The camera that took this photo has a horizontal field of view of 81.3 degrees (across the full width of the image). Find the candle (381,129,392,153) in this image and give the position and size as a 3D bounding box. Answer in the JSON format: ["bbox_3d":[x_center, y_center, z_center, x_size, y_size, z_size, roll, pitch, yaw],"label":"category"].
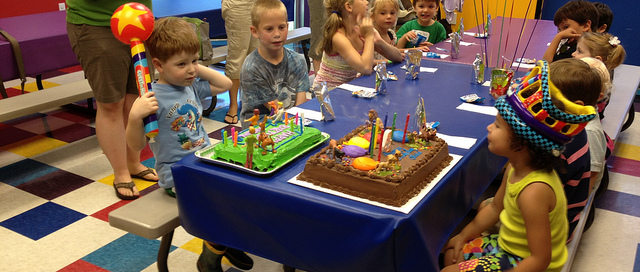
[{"bbox_3d":[0.602,0.049,3.404,0.072,0.167,0.173,9,68,23],"label":"candle"}]

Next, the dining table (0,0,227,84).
[{"bbox_3d":[-2.835,-1.186,4.821,2.742,0.504,1.025,-26,42,-36],"label":"dining table"}]

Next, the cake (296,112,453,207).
[{"bbox_3d":[0.477,0.202,3.323,1.017,0.497,0.977,15,37,32],"label":"cake"}]

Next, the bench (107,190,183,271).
[{"bbox_3d":[-1.777,1.016,3.849,0.476,0.521,0.836,26,33,14],"label":"bench"}]

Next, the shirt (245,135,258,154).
[{"bbox_3d":[-0.602,0.069,3.267,0.074,0.147,0.111,6,33,9],"label":"shirt"}]

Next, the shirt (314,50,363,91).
[{"bbox_3d":[0.251,-0.797,4.556,0.540,0.637,0.357,14,62,31],"label":"shirt"}]

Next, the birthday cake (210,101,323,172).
[{"bbox_3d":[-0.479,0.044,3.383,0.637,0.244,0.818,16,29,26],"label":"birthday cake"}]
